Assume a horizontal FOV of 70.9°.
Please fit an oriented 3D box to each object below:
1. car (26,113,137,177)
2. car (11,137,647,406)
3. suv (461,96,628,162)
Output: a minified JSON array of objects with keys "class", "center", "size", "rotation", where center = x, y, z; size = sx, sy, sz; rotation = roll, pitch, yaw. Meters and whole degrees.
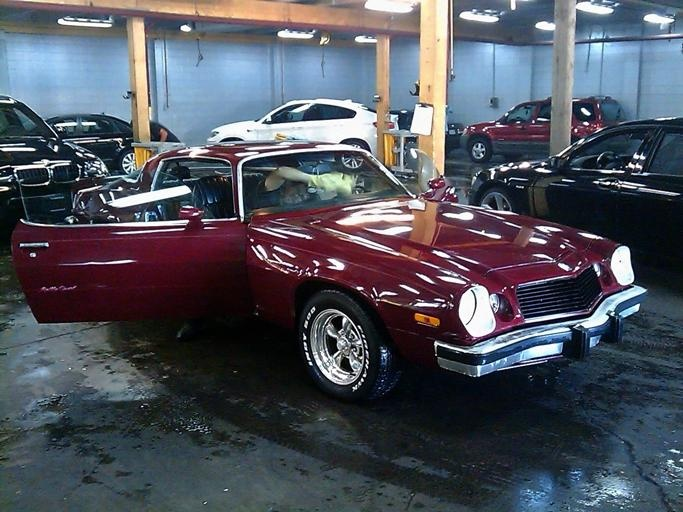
[{"class":"car","center":[-8.020,-3.319,13.985],"size":[4.253,1.129,1.647],"rotation":[2,6,-6]},{"class":"car","center":[-0.395,0.021,3.569],"size":[3.678,0.748,3.051],"rotation":[9,15,39]},{"class":"suv","center":[6.462,-4.232,16.912],"size":[6.297,1.892,2.608],"rotation":[7,15,33]}]
